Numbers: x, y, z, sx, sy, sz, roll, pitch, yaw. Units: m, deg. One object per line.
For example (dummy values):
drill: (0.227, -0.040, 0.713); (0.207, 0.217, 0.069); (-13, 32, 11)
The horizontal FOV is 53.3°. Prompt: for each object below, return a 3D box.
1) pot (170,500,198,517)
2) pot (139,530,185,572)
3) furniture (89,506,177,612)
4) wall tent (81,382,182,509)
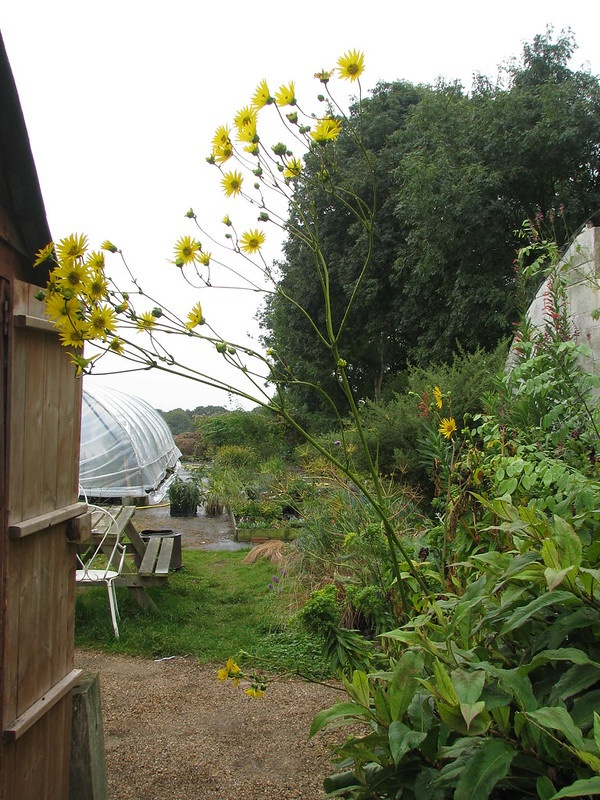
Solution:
pot: (-2.089, 2.009, 10.935); (0.347, 0.218, 0.364); (0, -1, 0)
pot: (-1.536, 1.620, 6.665); (0.508, 0.474, 0.505); (0, -6, 0)
furniture: (-1.592, 1.541, 5.696); (0.613, 0.528, 1.461); (-1, 1, -9)
wall tent: (-4.075, 0.853, 13.094); (2.567, 1.471, 4.253); (3, 4, -5)
